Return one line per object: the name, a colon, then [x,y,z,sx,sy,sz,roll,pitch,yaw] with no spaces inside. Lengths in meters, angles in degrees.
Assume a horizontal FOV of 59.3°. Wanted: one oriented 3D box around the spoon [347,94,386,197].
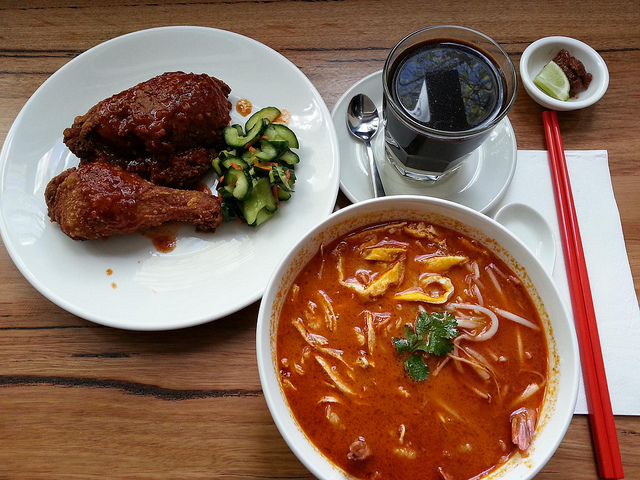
spoon: [0.271,-0.611,3.358,0.152,0.100,0.732,-6,77,-7]
